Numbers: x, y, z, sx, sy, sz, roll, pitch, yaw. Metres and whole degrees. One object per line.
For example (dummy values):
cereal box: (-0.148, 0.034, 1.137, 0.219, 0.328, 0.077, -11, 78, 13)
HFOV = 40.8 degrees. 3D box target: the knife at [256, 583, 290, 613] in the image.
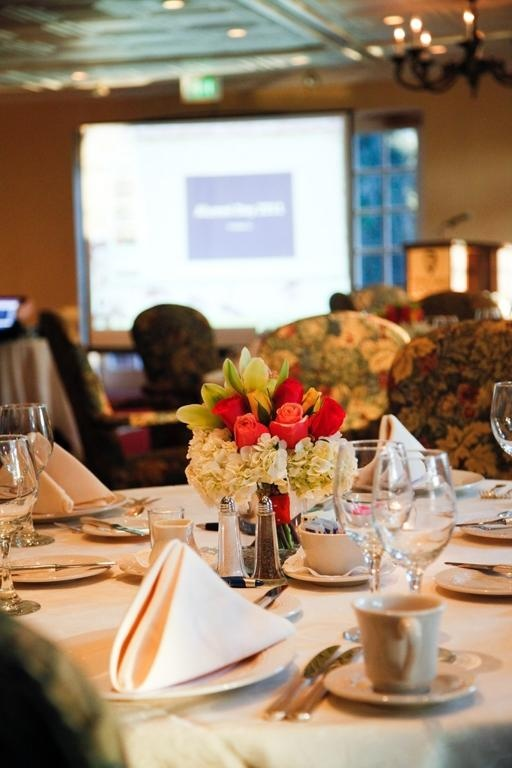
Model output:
knife: (0.017, 0.207, 0.670, 0.010, 0.005, 0.067, 17, 9, 17)

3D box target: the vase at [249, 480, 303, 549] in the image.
vase: (0.025, 0.184, 0.879, 0.043, 0.038, 0.103, 1, 30, -19)

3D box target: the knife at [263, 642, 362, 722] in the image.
knife: (0.036, 0.206, 0.487, 0.024, 0.010, 0.098, 5, 7, 15)

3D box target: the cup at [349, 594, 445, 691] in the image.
cup: (0.082, 0.159, 0.428, 0.052, 0.049, 0.070, 0, 3, 4)

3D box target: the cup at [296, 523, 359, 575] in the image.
cup: (0.077, 0.179, 0.741, 0.058, 0.031, 0.053, 1, -9, 0)

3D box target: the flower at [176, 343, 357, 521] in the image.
flower: (0.002, 0.086, 0.831, 0.202, 0.194, 0.186, 10, 23, -3)
